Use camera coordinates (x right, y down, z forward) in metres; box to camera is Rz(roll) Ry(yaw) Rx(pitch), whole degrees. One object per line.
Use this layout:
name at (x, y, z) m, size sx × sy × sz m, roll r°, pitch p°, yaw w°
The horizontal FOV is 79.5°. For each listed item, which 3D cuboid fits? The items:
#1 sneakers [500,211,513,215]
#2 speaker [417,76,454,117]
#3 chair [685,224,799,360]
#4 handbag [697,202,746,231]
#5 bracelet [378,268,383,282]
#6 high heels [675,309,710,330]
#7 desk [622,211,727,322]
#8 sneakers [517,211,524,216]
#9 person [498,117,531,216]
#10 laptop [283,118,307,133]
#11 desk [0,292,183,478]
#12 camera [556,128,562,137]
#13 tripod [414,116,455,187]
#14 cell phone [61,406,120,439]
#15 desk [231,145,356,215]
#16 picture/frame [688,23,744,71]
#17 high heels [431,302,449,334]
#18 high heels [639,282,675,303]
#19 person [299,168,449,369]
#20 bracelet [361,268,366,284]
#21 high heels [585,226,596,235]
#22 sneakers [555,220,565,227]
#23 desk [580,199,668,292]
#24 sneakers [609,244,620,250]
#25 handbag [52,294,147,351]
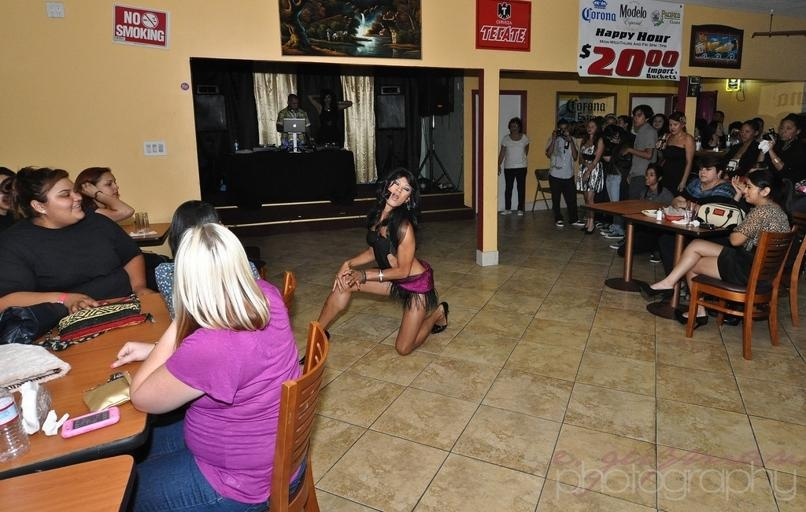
sneakers at (2.377, -1.021, 11.259) m, size 0.267 × 0.106 × 0.108 m, roll 0°, pitch 16°, yaw -6°
speaker at (0.694, -3.672, 11.110) m, size 0.925 × 1.109 × 0.766 m, roll -6°, pitch 14°, yaw -24°
chair at (3.533, 0.301, 5.149) m, size 0.759 × 1.223 × 0.819 m, roll -2°, pitch 11°, yaw -16°
handbag at (3.618, -0.472, 5.585) m, size 0.312 × 0.245 × 0.374 m, roll -5°, pitch 10°, yaw -30°
bracelet at (-0.213, 0.179, 4.571) m, size 0.062 × 0.087 × 0.025 m, roll 3°, pitch -1°, yaw 2°
high heels at (3.188, 0.698, 5.394) m, size 0.189 × 0.144 × 0.334 m, roll -22°, pitch 38°, yaw -34°
desk at (3.254, 0.136, 5.827) m, size 0.571 × 0.786 × 1.109 m, roll -6°, pitch 17°, yaw -18°
sneakers at (2.668, -0.996, 11.128) m, size 0.116 × 0.085 × 0.117 m, roll 0°, pitch 5°, yaw 7°
person at (2.445, -2.010, 10.920) m, size 0.612 × 2.120 × 0.449 m, roll 2°, pitch 19°, yaw 11°
laptop at (-2.208, -2.677, 9.927) m, size 0.454 × 0.292 × 0.365 m, roll -8°, pitch 20°, yaw -18°
desk at (-1.631, 0.759, 2.596) m, size 0.683 × 0.263 × 1.068 m, roll -6°, pitch 31°, yaw -15°
camera at (3.140, -2.509, 9.802) m, size 0.116 × 0.163 × 0.160 m, roll 2°, pitch 6°, yaw -8°
tripod at (0.683, -2.720, 12.259) m, size 1.211 × 1.814 × 1.256 m, roll -2°, pitch 13°, yaw 8°
cell phone at (-1.610, 0.858, 2.519) m, size 0.223 × 0.040 × 0.123 m, roll -15°, pitch 30°, yaw -20°
desk at (-2.710, -1.754, 10.615) m, size 2.963 × 1.348 × 2.310 m, roll -1°, pitch 2°, yaw 8°
picture/frame at (5.522, -3.769, 8.681) m, size 1.002 × 0.731 × 0.041 m, roll -5°, pitch 11°, yaw -26°
high heels at (0.449, 0.693, 5.434) m, size 0.133 × 0.168 × 0.413 m, roll -2°, pitch 13°, yaw 25°
high heels at (3.080, 0.459, 5.942) m, size 0.354 × 0.145 × 0.206 m, roll 4°, pitch 15°, yaw 16°
person at (-0.206, 0.078, 4.838) m, size 1.558 × 1.830 × 0.770 m, roll 5°, pitch 15°, yaw -10°
bracelet at (-0.368, 0.191, 4.563) m, size 0.038 × 0.083 × 0.081 m, roll 5°, pitch -9°, yaw -11°
high heels at (3.581, -0.492, 9.337) m, size 0.202 × 0.080 × 0.125 m, roll -3°, pitch 7°, yaw -43°
sneakers at (3.187, -0.680, 9.968) m, size 0.113 × 0.081 × 0.229 m, roll 0°, pitch 6°, yaw 11°
desk at (3.009, -0.232, 6.729) m, size 1.209 × 1.180 × 1.180 m, roll -10°, pitch 16°, yaw -34°
sneakers at (3.645, -0.170, 8.401) m, size 0.222 × 0.089 × 0.075 m, roll 1°, pitch 3°, yaw -37°
handbag at (-2.047, 0.437, 3.285) m, size 0.366 × 0.112 × 0.335 m, roll -14°, pitch 19°, yaw -36°
